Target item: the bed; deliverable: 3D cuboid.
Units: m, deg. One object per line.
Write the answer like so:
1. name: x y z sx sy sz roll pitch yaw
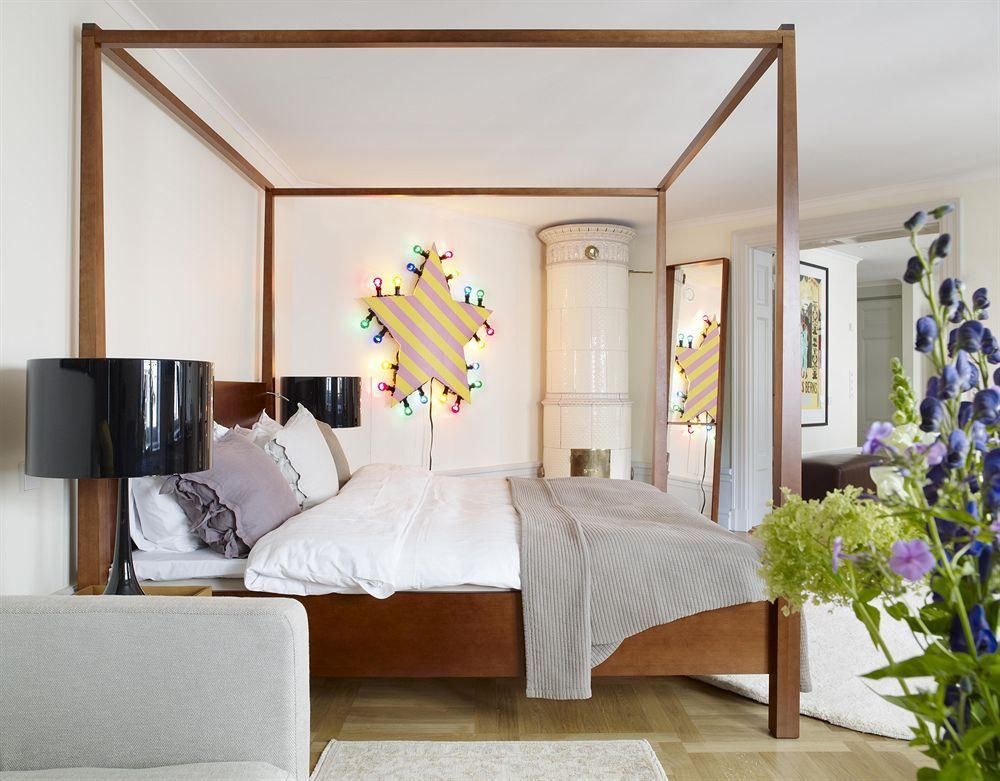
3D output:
1. bed: -0.334 -0.034 4.505 2.992 2.843 2.853 0 0 0

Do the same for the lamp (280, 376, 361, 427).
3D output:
1. lamp: -1.064 0.058 5.112 0.334 0.229 0.345 0 -3 6

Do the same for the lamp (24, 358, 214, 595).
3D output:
1. lamp: -1.402 0.343 3.036 0.534 0.901 0.541 1 3 10
